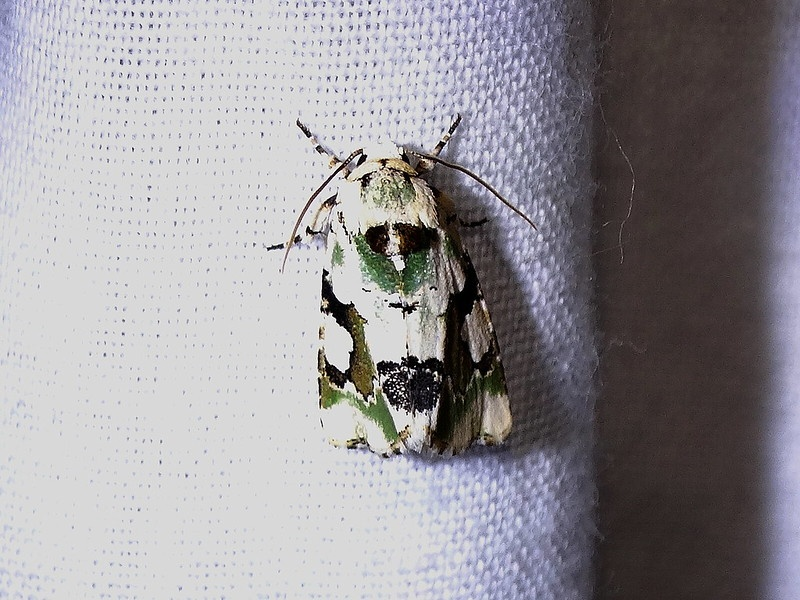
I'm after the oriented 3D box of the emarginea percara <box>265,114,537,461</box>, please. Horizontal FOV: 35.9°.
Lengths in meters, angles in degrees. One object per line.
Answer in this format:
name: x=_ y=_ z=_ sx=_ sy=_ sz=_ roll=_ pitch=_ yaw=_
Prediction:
emarginea percara: x=-0.020 y=-0.015 z=2.025 sx=0.385 sy=0.178 sz=0.538 roll=-4 pitch=73 yaw=-8
